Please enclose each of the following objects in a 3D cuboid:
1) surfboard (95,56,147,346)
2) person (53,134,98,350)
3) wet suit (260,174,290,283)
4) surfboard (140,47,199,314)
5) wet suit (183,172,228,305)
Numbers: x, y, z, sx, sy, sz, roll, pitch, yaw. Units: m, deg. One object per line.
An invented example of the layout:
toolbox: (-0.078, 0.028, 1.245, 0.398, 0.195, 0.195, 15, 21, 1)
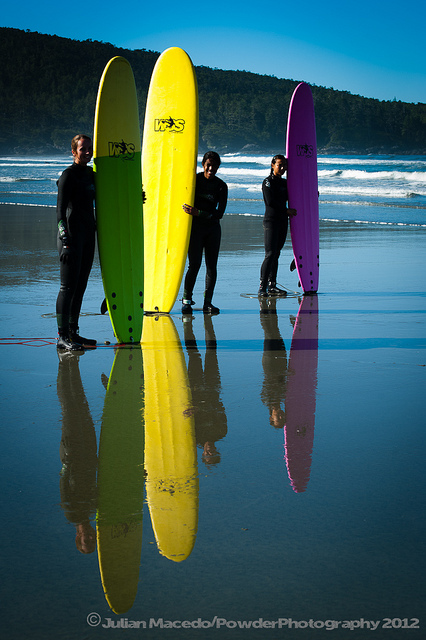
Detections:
surfboard: (-0.690, -0.889, 5.604, 0.335, 2.043, 0.763, -1, 11, -6)
person: (-0.902, -0.494, 5.099, 0.356, 1.429, 0.322, -8, 13, -34)
wet suit: (0.589, -0.862, 7.352, 0.260, 1.055, 0.429, 1, 11, 4)
surfboard: (-0.409, -1.270, 6.956, 0.611, 2.788, 0.322, 5, -6, 1)
wet suit: (-0.083, -0.700, 6.660, 0.368, 1.150, 0.374, 0, 11, 0)
